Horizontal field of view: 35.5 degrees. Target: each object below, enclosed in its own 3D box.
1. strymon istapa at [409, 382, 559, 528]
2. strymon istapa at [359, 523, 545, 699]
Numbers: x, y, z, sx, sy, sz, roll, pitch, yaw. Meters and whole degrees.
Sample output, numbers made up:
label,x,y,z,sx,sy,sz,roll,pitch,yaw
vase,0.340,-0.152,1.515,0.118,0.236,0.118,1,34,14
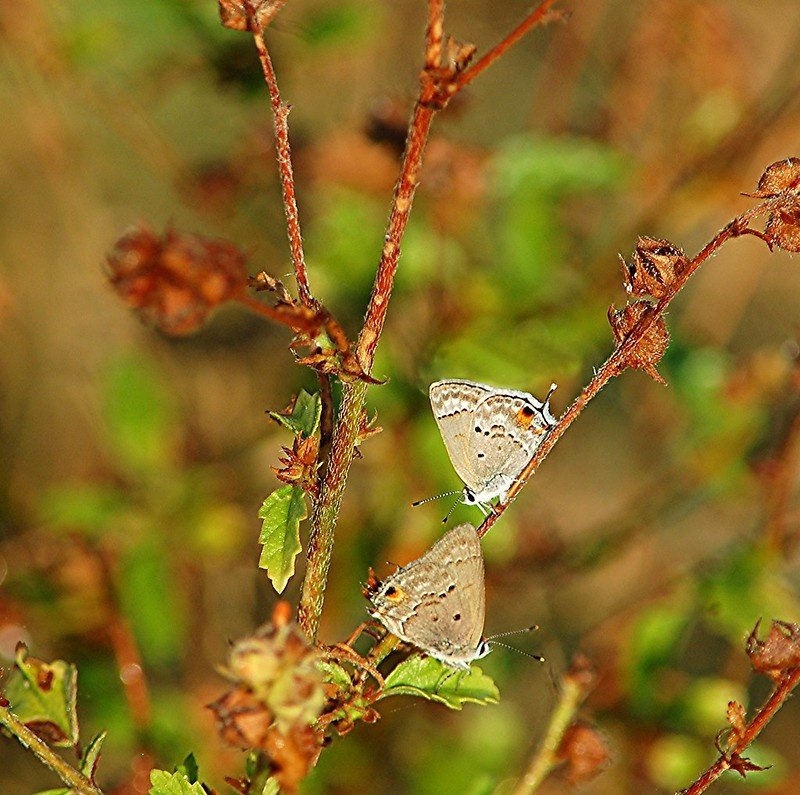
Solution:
label,x,y,z,sx,sy,sz,roll,pitch,yaw
strymon istapa,0.234,0.142,3.507,0.349,0.340,0.246,-49,65,16
strymon istapa,0.108,0.482,2.916,0.322,0.333,0.219,37,78,3
